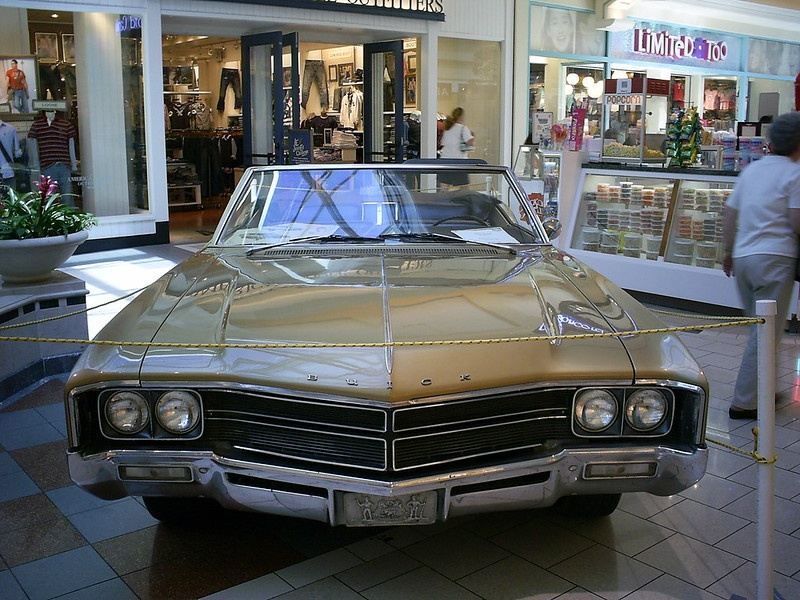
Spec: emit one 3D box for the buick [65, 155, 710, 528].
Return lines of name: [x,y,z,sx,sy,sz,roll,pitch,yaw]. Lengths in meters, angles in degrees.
buick: [-0.078,0.022,2.974,2.594,1.433,1.991,0,14,-3]

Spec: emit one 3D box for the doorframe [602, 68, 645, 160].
doorframe: [3.384,-2.635,8.336,0.473,1.215,0.653,-28,32,-33]

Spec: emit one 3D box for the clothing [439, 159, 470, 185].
clothing: [0.347,-0.814,3.681,0.221,0.175,0.113,1,-5,-5]

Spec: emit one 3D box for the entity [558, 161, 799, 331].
entity: [2.749,-0.541,5.514,0.797,1.299,2.214,2,10,-41]
